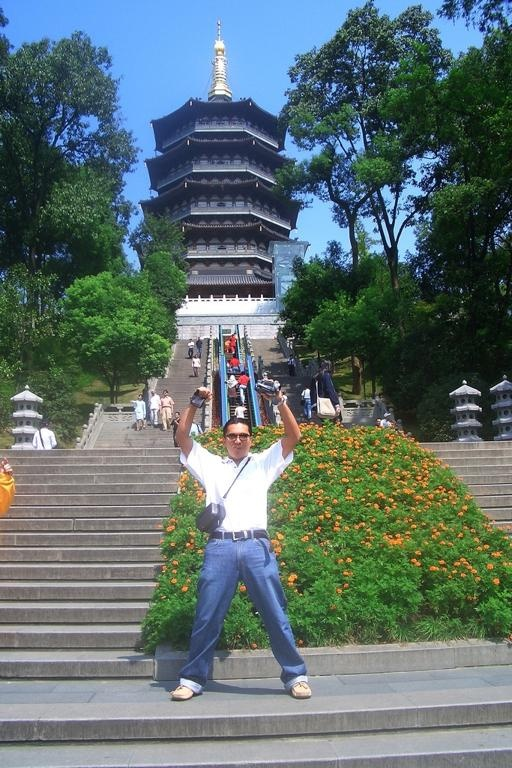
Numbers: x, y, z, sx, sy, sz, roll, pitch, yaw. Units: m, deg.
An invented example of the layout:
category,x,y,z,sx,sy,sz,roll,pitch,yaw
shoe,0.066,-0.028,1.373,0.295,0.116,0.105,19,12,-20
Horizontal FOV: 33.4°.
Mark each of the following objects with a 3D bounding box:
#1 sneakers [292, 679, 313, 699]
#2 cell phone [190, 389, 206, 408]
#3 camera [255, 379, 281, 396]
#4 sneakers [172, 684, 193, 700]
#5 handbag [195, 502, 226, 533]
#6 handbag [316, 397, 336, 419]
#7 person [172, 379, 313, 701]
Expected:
category,x,y,z,sx,sy,sz,roll,pitch,yaw
sneakers,0.257,1.697,4.765,0.078,0.071,0.199,-1,-19,0
cell phone,-0.331,0.079,4.857,0.083,0.104,0.040,36,12,24
camera,0.067,0.016,4.904,0.132,0.100,0.234,1,14,0
sneakers,-0.408,1.717,4.744,0.126,0.077,0.088,-1,15,-6
handbag,-0.257,0.766,4.857,0.158,0.194,0.104,0,15,-4
handbag,0.776,0.276,9.343,0.206,0.301,0.397,2,15,4
person,-0.082,0.904,4.913,0.772,1.784,0.809,0,15,-2
